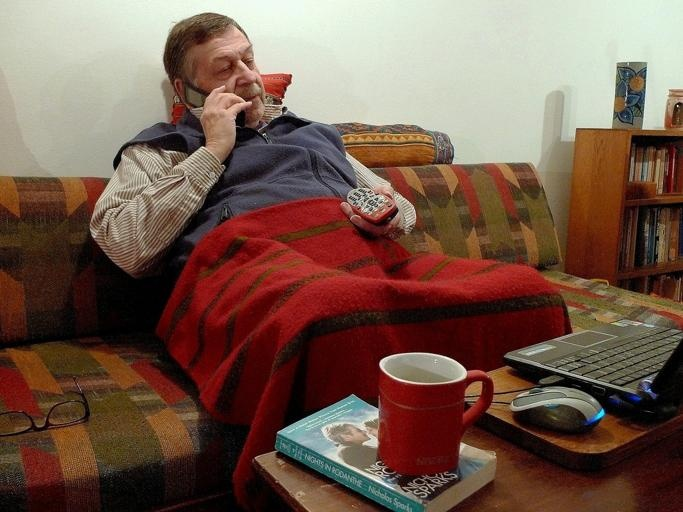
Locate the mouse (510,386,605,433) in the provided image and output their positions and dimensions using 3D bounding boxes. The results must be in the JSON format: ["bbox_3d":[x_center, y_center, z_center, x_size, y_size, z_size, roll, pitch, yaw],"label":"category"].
[{"bbox_3d":[0.292,0.204,0.671,0.109,0.028,0.060,-2,10,33],"label":"mouse"}]

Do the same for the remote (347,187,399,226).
[{"bbox_3d":[0.078,-0.126,1.300,0.087,0.029,0.138,-28,38,-23],"label":"remote"}]

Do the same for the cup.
[{"bbox_3d":[0.098,0.185,0.616,0.189,0.104,0.110,-2,9,-24],"label":"cup"}]

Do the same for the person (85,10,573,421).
[{"bbox_3d":[-0.205,-0.104,1.815,1.612,1.005,0.850,-14,-6,-36],"label":"person"}]

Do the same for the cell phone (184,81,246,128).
[{"bbox_3d":[-0.408,-0.495,1.629,0.158,0.181,0.071,25,67,15],"label":"cell phone"}]
